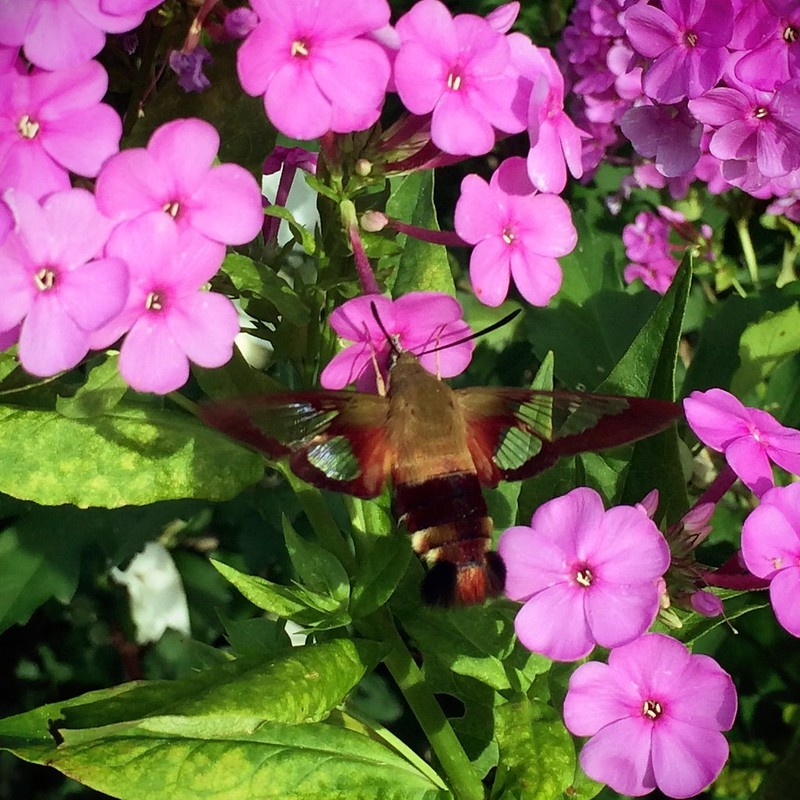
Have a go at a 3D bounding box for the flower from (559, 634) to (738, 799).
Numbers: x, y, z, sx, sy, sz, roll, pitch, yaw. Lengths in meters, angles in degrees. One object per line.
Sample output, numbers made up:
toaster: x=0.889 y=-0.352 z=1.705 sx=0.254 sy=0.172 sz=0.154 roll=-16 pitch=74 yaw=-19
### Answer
flower: x=0.241 y=0.291 z=1.053 sx=0.164 sy=0.069 sz=0.162 roll=35 pitch=90 yaw=0

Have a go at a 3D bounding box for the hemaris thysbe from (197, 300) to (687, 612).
hemaris thysbe: x=0.046 y=0.049 z=1.087 sx=0.433 sy=0.136 sz=0.314 roll=-6 pitch=49 yaw=-14

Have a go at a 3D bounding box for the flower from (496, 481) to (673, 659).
flower: x=0.170 y=0.160 z=0.968 sx=0.169 sy=0.054 sz=0.158 roll=17 pitch=79 yaw=11
